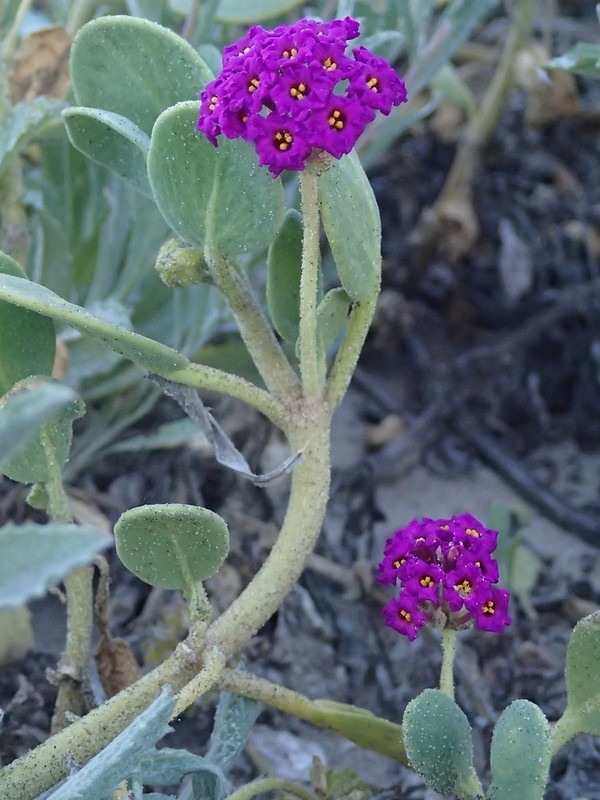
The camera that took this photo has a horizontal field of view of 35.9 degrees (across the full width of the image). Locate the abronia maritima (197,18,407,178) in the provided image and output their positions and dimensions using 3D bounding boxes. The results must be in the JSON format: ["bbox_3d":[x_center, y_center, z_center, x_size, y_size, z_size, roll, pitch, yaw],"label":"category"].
[{"bbox_3d":[0.008,-0.157,0.531,0.108,0.045,0.091,-8,48,6],"label":"abronia maritima"}]
